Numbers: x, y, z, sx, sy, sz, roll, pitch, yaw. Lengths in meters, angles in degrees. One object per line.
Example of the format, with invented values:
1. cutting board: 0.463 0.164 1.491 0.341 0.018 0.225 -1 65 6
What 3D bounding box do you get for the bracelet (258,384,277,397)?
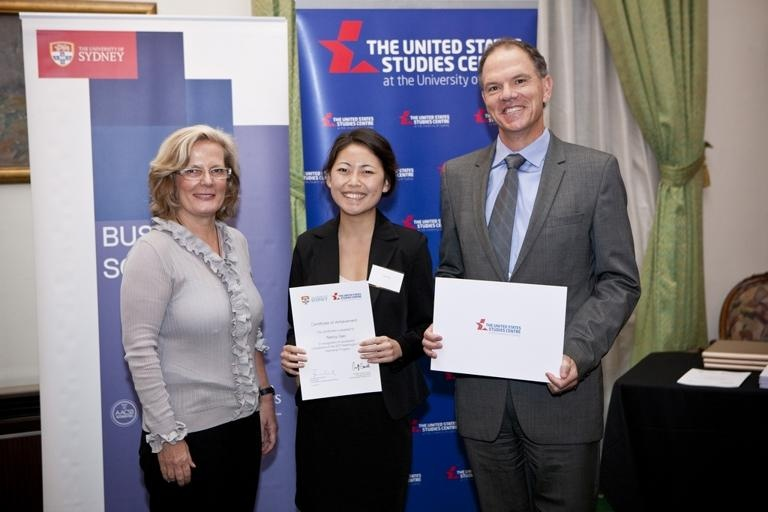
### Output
1. bracelet: -0.670 0.764 3.662 0.068 0.047 0.080 -5 -11 -14
